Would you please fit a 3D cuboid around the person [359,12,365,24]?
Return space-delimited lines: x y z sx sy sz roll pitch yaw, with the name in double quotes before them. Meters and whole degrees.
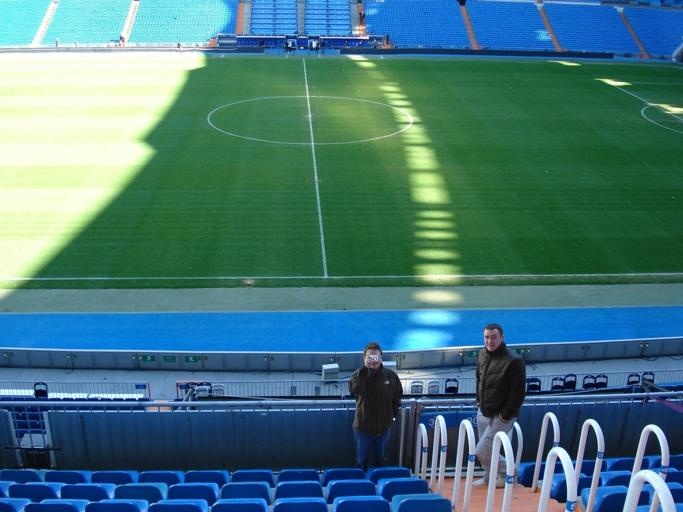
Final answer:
"person" 1.693 -19.602 68.334 0.493 1.257 0.853 0 -9 1

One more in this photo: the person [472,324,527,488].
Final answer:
"person" 3.150 2.950 16.708 0.795 3.123 1.207 2 -10 -11

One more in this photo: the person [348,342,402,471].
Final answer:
"person" 0.645 3.121 17.144 1.040 2.575 1.114 3 -10 -19

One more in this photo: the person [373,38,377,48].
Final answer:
"person" 2.568 -16.475 64.346 0.378 0.934 0.708 -2 -9 9
